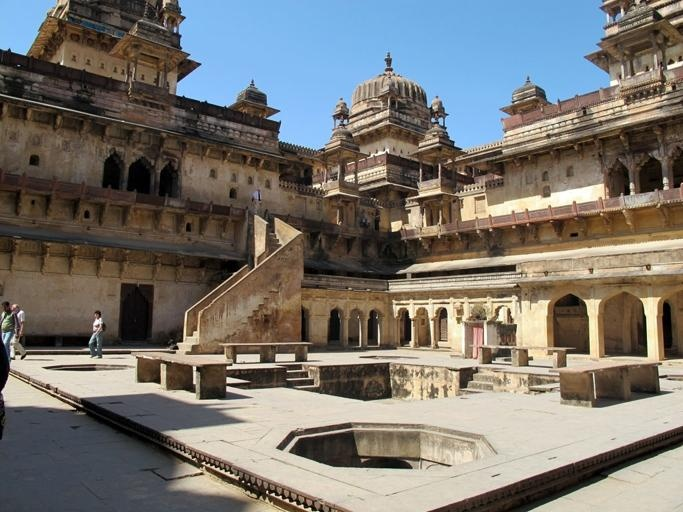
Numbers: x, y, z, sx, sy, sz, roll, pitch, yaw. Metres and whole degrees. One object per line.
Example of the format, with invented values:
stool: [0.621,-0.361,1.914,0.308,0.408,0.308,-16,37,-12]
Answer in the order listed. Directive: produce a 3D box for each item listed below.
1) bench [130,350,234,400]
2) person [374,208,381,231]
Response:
bench: [-3.159,2.299,12.537,0.819,0.802,2.474,-3,4,-44]
person: [2.158,-2.249,37.306,0.396,1.149,0.309,1,3,4]
